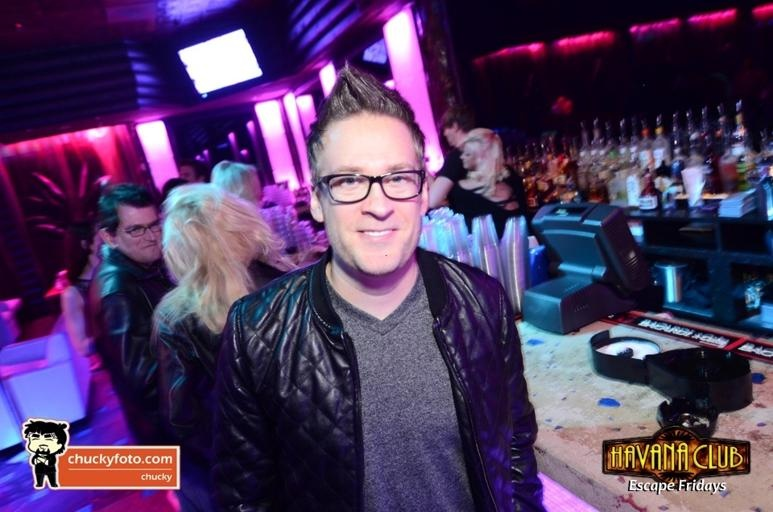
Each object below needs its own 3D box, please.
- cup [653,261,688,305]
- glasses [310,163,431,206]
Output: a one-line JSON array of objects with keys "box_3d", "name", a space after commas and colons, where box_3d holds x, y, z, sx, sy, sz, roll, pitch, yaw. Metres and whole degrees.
[{"box_3d": [1.890, 0.171, 3.151, 0.190, 0.265, 0.155, -4, 9, 17], "name": "cup"}, {"box_3d": [-0.071, -0.296, 2.046, 0.476, 0.146, 0.131, -6, 8, 3], "name": "glasses"}]
